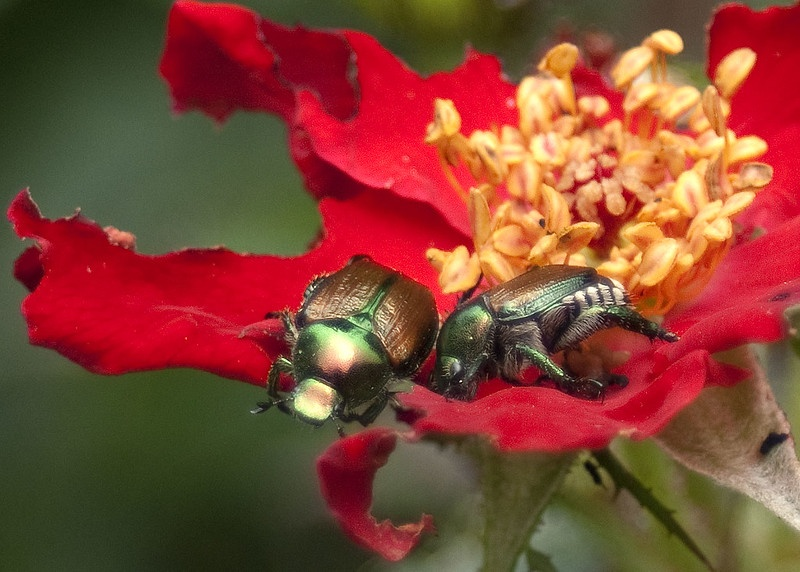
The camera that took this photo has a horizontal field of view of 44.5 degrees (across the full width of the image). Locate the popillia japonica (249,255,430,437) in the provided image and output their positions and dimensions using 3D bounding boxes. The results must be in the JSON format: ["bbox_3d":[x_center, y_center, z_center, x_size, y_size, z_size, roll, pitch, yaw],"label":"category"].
[{"bbox_3d":[-0.055,0.059,1.003,0.164,0.177,0.060,26,-17,19],"label":"popillia japonica"}]

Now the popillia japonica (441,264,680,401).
[{"bbox_3d":[0.159,0.076,0.998,0.181,0.064,0.142,-30,19,-7],"label":"popillia japonica"}]
